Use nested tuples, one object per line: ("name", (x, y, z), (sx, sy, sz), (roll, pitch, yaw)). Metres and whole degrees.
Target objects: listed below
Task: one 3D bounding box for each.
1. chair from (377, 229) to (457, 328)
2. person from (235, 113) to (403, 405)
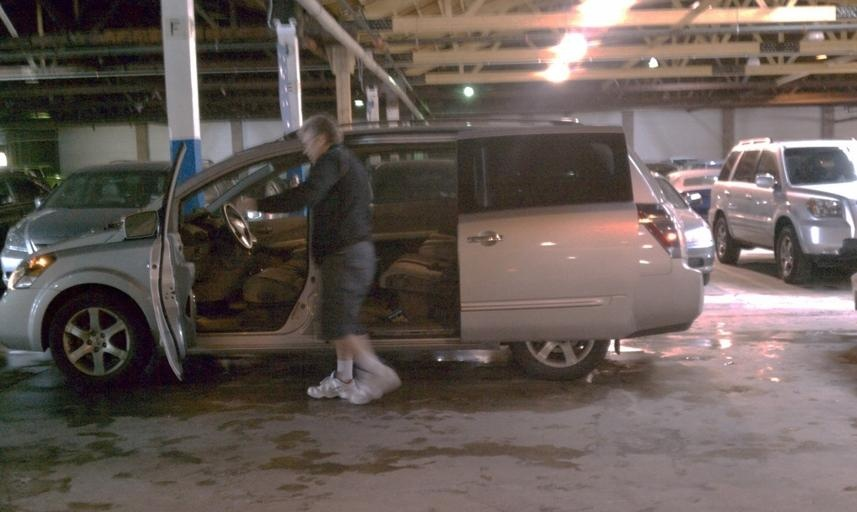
("chair", (-0.141, 0.465, 7.693), (0.897, 0.492, 1.561), (0, 32, 2))
("person", (-0.894, 0.034, 6.860), (1.089, 2.827, 0.389), (-3, 6, -3))
